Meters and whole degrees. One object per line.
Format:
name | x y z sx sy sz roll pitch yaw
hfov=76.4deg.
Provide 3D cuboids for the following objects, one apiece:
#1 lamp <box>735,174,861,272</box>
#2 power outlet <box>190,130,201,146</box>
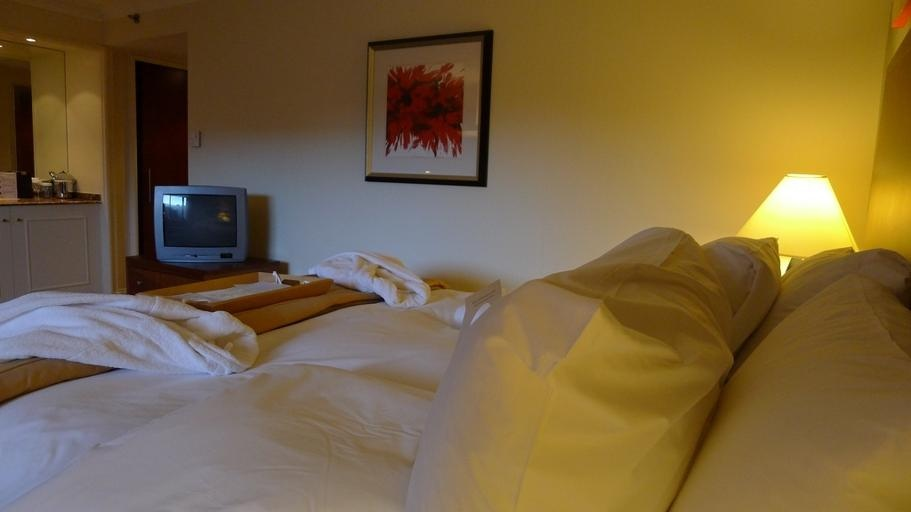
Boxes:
lamp | 1.927 -0.219 3.359 0.637 0.563 0.618 8 11 39
power outlet | -2.347 -1.069 5.230 0.123 0.163 0.017 15 22 32
